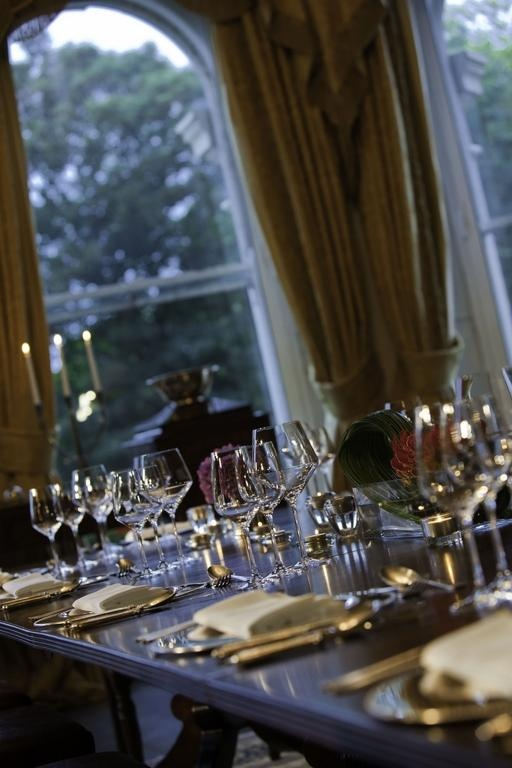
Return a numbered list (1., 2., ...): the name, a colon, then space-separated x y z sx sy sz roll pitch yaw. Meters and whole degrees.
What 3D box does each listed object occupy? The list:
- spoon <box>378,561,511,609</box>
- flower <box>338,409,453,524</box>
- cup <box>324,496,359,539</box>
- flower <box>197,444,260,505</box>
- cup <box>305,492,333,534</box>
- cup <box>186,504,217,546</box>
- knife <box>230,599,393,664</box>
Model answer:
1. spoon: 0.176 0.183 0.559 0.032 0.016 0.115 1 -2 -24
2. flower: 0.223 0.140 1.041 0.166 0.072 0.171 -27 37 -35
3. cup: 0.164 0.248 1.159 0.072 0.080 0.072 -2 -12 0
4. flower: -0.056 0.206 1.577 0.182 0.205 0.212 -2 -3 3
5. cup: 0.121 0.262 1.231 0.067 0.067 0.064 0 -9 0
6. cup: -0.159 0.395 1.720 0.085 0.127 0.088 -1 -9 0
7. knife: 0.051 0.197 0.516 0.041 0.009 0.208 4 6 38
